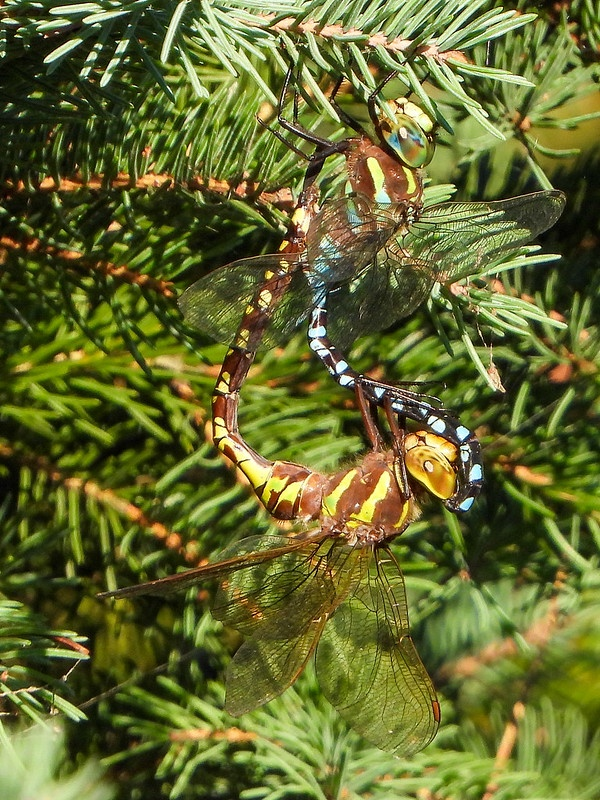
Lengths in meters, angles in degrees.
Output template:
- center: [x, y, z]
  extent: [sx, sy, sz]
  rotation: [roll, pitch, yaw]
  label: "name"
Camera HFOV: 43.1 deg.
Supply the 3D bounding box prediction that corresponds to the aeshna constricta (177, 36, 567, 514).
- center: [0.037, -0.176, 1.082]
  extent: [0.615, 0.514, 0.269]
  rotation: [0, 22, -13]
  label: "aeshna constricta"
